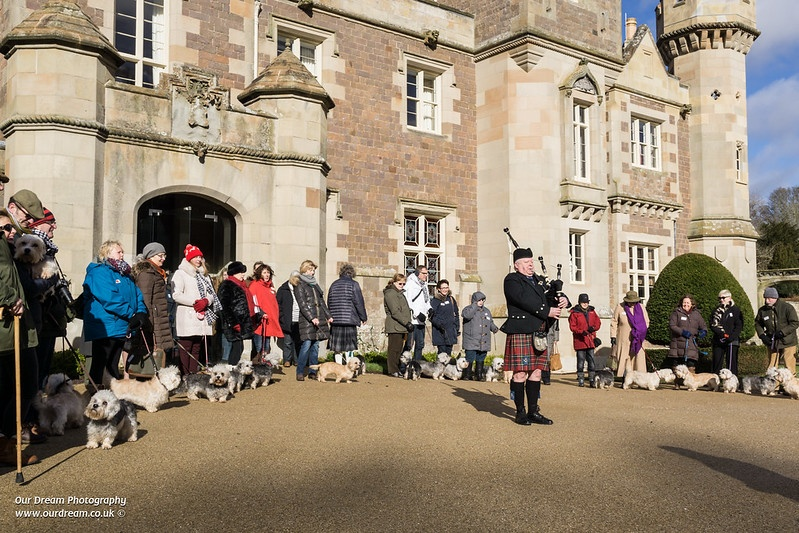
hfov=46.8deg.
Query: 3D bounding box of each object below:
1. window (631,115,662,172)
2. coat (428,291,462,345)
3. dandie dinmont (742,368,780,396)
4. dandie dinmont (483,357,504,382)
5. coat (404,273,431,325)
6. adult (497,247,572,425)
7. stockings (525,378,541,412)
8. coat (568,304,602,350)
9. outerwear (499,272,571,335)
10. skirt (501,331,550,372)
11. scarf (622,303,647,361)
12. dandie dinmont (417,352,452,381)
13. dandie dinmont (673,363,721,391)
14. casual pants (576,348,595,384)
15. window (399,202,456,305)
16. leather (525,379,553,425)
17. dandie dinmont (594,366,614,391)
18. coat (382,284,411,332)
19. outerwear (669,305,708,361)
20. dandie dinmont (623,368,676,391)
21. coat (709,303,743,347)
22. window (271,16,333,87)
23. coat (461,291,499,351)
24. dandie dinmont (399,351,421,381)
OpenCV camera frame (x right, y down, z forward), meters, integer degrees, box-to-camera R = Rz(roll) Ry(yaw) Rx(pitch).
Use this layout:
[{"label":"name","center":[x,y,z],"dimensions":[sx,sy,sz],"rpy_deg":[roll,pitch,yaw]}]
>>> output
[{"label":"window","center":[7.784,-3.954,29.438],"dimensions":[1.738,1.764,0.146],"rpy_deg":[5,-4,-42]},{"label":"coat","center":[0.982,1.128,19.851],"dimensions":[0.779,1.105,0.509],"rpy_deg":[-4,0,-38]},{"label":"dandie dinmont","center":[7.280,2.394,18.863],"dimensions":[0.866,0.500,0.340],"rpy_deg":[-5,-7,44]},{"label":"dandie dinmont","center":[1.990,2.167,19.176],"dimensions":[0.253,0.403,0.609],"rpy_deg":[9,-18,-7]},{"label":"coat","center":[0.406,0.641,19.899],"dimensions":[0.518,1.000,0.737],"rpy_deg":[13,16,27]},{"label":"adult","center":[2.250,1.135,15.344],"dimensions":[1.060,2.986,0.993],"rpy_deg":[3,-12,-12]},{"label":"stockings","center":[2.181,2.114,15.148],"dimensions":[0.186,0.606,0.195],"rpy_deg":[-2,8,-4]},{"label":"coat","center":[3.874,1.330,19.521],"dimensions":[0.582,0.935,0.500],"rpy_deg":[5,15,17]},{"label":"outerwear","center":[2.282,0.648,15.457],"dimensions":[0.930,1.082,0.867],"rpy_deg":[-7,-12,34]},{"label":"skirt","center":[2.017,1.475,15.357],"dimensions":[0.882,0.903,0.532],"rpy_deg":[1,-9,-7]},{"label":"scarf","center":[5.092,1.323,20.112],"dimensions":[0.497,1.156,0.381],"rpy_deg":[13,18,40]},{"label":"dandie dinmont","center":[0.711,2.070,19.245],"dimensions":[0.609,0.512,0.365],"rpy_deg":[2,14,2]},{"label":"dandie dinmont","center":[6.069,2.268,18.974],"dimensions":[1.154,0.694,0.401],"rpy_deg":[3,-11,6]},{"label":"casual pants","center":[3.956,1.996,19.570],"dimensions":[0.392,1.413,0.328],"rpy_deg":[-4,39,5]},{"label":"window","center":[0.700,-0.362,23.752],"dimensions":[2.323,3.315,0.266],"rpy_deg":[5,-4,-42]},{"label":"leather","center":[2.292,2.238,15.230],"dimensions":[0.426,0.771,0.603],"rpy_deg":[3,15,9]},{"label":"dandie dinmont","center":[4.216,2.313,19.196],"dimensions":[0.386,0.334,0.516],"rpy_deg":[-1,15,-7]},{"label":"coat","center":[-0.030,0.886,19.662],"dimensions":[0.750,1.284,0.963],"rpy_deg":[-1,-4,-2]},{"label":"outerwear","center":[6.063,1.450,19.624],"dimensions":[0.675,1.105,0.553],"rpy_deg":[3,14,7]},{"label":"dandie dinmont","center":[5.140,2.350,19.118],"dimensions":[1.032,0.435,0.496],"rpy_deg":[4,15,10]},{"label":"coat","center":[6.841,1.230,19.480],"dimensions":[0.621,0.837,0.378],"rpy_deg":[6,15,19]},{"label":"window","center":[-2.352,-5.290,22.436],"dimensions":[1.921,2.025,0.486],"rpy_deg":[15,-24,-38]},{"label":"coat","center":[1.671,1.172,19.382],"dimensions":[0.693,1.255,0.597],"rpy_deg":[2,14,4]},{"label":"dandie dinmont","center":[0.256,2.071,19.031],"dimensions":[0.435,0.535,0.543],"rpy_deg":[0,15,-3]}]
